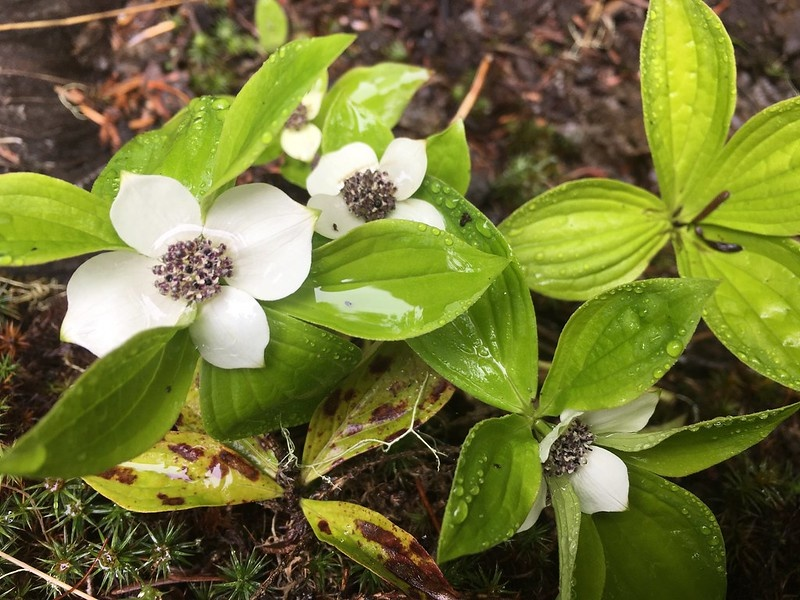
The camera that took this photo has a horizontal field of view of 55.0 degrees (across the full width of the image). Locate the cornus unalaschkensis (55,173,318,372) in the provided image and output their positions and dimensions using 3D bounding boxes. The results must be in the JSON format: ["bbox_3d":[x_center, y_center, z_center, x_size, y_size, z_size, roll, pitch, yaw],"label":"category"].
[{"bbox_3d":[-0.499,-0.076,2.048,0.496,0.120,0.412,32,94,33],"label":"cornus unalaschkensis"}]

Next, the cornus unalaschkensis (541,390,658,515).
[{"bbox_3d":[0.553,0.419,2.145,0.253,0.255,0.300,12,43,22],"label":"cornus unalaschkensis"}]
